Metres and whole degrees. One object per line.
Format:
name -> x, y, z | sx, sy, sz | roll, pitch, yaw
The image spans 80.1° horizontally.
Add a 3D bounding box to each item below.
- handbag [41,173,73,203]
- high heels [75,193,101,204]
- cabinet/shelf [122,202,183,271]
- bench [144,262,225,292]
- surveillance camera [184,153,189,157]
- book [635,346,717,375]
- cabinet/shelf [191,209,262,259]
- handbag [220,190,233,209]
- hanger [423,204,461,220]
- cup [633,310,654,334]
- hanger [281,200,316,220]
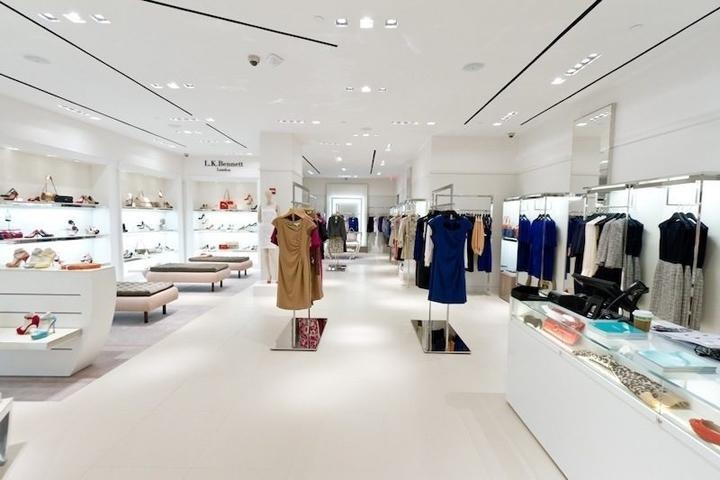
handbag -> -6.451, -1.081, 8.998 | 0.557, 0.742, 0.525 | 0, 2, 8
high heels -> -6.241, -0.951, 9.710 | 0.231, 0.178, 0.407 | 1, 7, -11
cabinet/shelf -> -5.737, -0.124, 11.592 | 0.434, 1.687, 1.768 | 0, 4, 3
bench -> -4.049, 0.858, 9.893 | 1.629, 0.547, 0.588 | 1, 6, -1
surveillance camera -> -5.242, -2.558, 12.785 | 0.100, 0.103, 0.054 | -1, 2, -12
book -> 2.885, 1.105, 3.910 | 0.292, 0.074, 0.313 | -1, 1, -13
cabinet/shelf -> -4.173, -0.241, 12.901 | 1.462, 1.355, 0.481 | 0, 0, 0
handbag -> -4.180, -1.275, 13.265 | 0.404, 0.599, 0.735 | -1, 6, -17
hanger -> 1.273, -0.454, 6.845 | 0.509, 0.162, 0.522 | 4, 5, 38
cup -> 2.883, 0.831, 4.362 | 0.196, 0.199, 0.182 | -2, 0, 0
hanger -> -0.998, -0.543, 7.336 | 0.591, 0.246, 0.819 | 1, 1, 12
